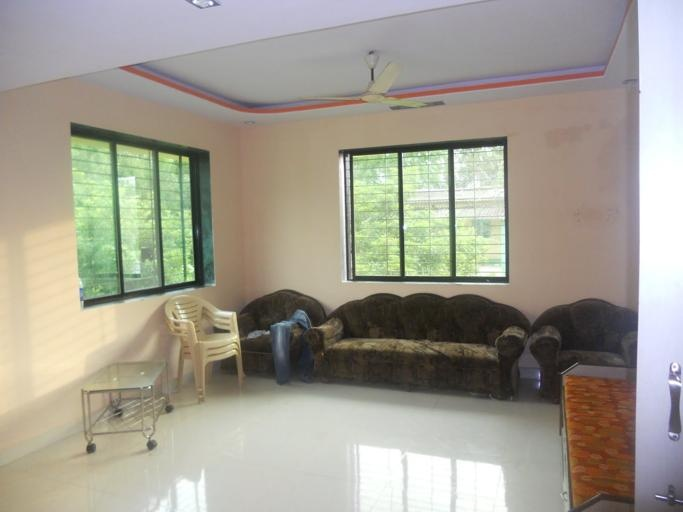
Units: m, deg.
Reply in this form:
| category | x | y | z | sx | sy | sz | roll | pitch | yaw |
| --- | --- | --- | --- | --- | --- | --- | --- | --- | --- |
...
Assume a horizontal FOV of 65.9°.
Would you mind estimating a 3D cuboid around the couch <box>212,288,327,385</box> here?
| category | x | y | z | sx | sy | sz | roll | pitch | yaw |
| --- | --- | --- | --- | --- | --- | --- | --- | --- | --- |
| couch | -0.793 | 0.815 | 6.003 | 1.125 | 1.021 | 0.887 | -1 | -3 | 21 |

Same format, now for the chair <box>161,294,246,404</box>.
| category | x | y | z | sx | sy | sz | roll | pitch | yaw |
| --- | --- | --- | --- | --- | --- | --- | --- | --- | --- |
| chair | -1.441 | 0.870 | 5.453 | 0.899 | 1.142 | 0.868 | 0 | 2 | 38 |

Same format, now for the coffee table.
| category | x | y | z | sx | sy | sz | roll | pitch | yaw |
| --- | --- | --- | --- | --- | --- | --- | --- | --- | --- |
| coffee table | -1.817 | 1.250 | 4.539 | 0.565 | 0.483 | 0.942 | -2 | 2 | -11 |

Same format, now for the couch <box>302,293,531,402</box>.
| category | x | y | z | sx | sy | sz | roll | pitch | yaw |
| --- | --- | --- | --- | --- | --- | --- | --- | --- | --- |
| couch | 0.804 | 0.858 | 5.384 | 2.091 | 0.830 | 0.770 | 3 | 12 | 19 |

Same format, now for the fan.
| category | x | y | z | sx | sy | sz | roll | pitch | yaw |
| --- | --- | --- | --- | --- | --- | --- | --- | --- | --- |
| fan | 0.437 | -1.530 | 4.667 | 0.841 | 0.445 | 1.700 | 1 | 12 | 10 |
